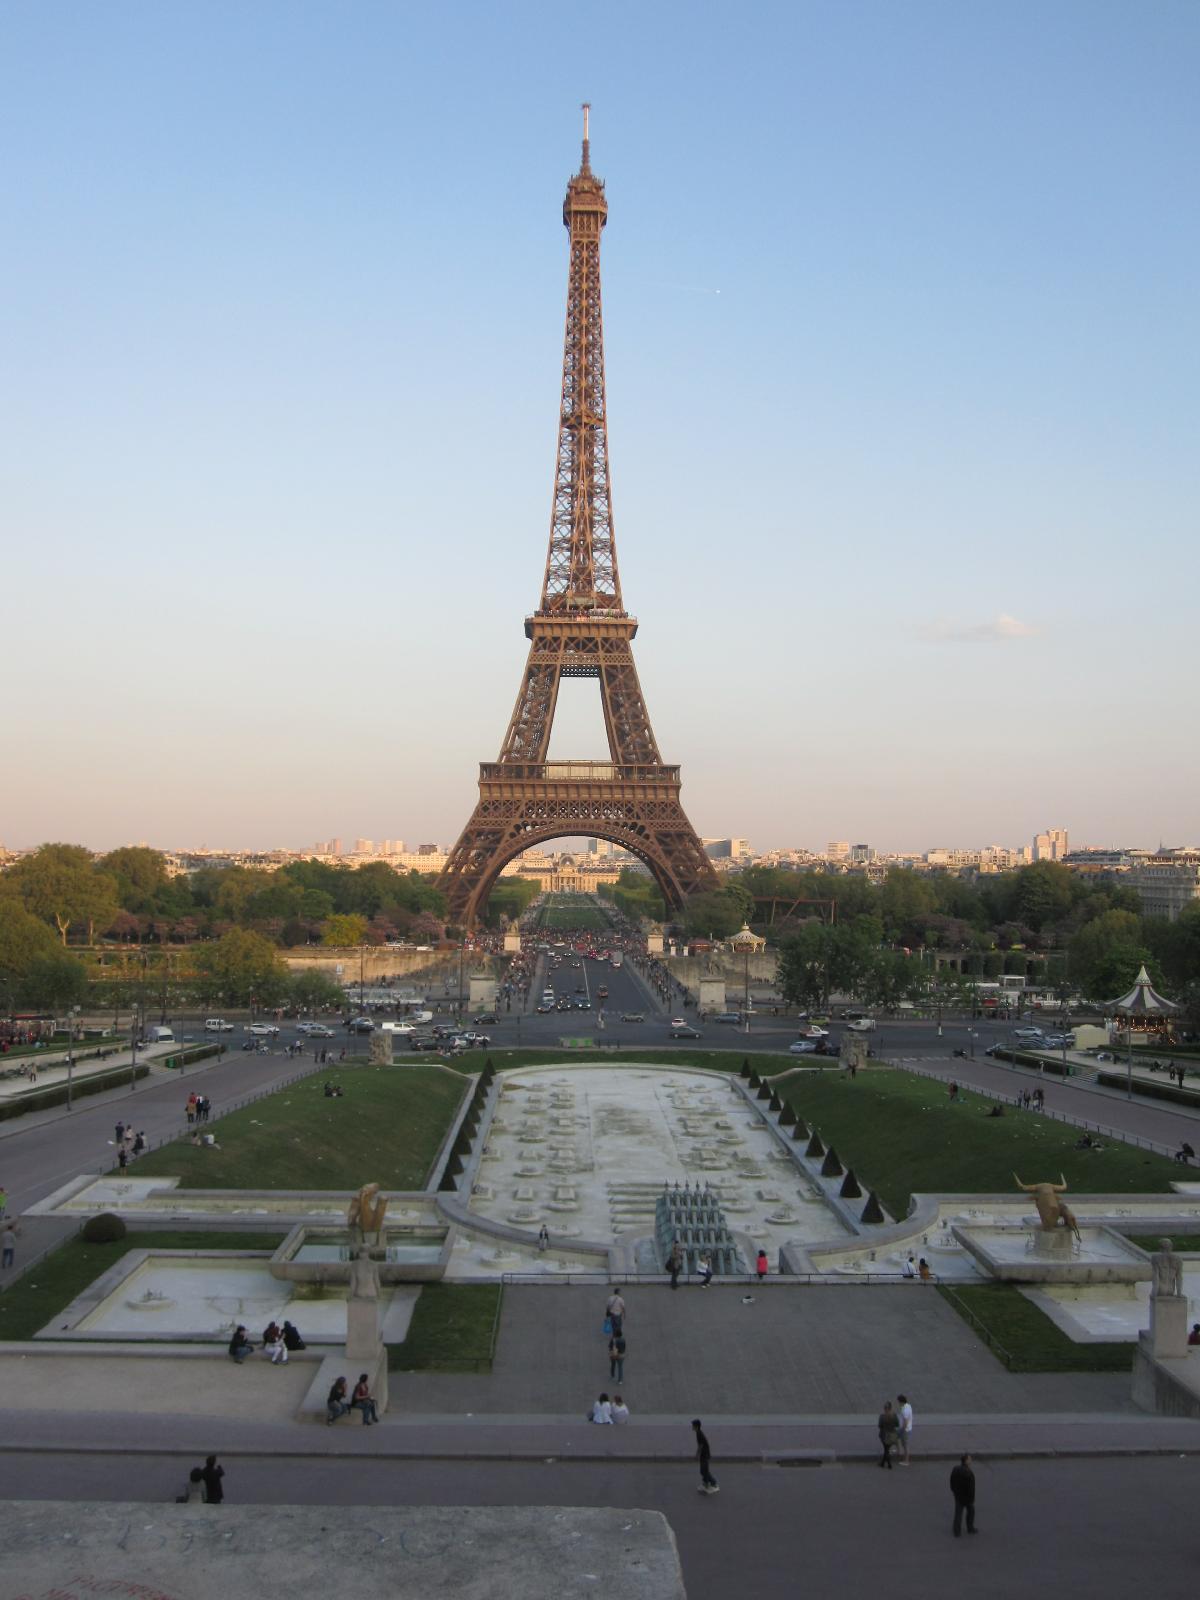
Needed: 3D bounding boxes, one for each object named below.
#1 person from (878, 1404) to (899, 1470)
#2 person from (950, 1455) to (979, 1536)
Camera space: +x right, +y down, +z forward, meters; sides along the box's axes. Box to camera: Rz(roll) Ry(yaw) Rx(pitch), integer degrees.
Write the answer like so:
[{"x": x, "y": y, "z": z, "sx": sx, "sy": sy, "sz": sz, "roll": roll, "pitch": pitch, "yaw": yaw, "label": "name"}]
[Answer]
[{"x": 4.904, "y": 10.667, "z": 26.208, "sx": 0.343, "sy": 1.009, "sz": 0.811, "roll": 0, "pitch": -4, "yaw": 10, "label": "person"}, {"x": 5.648, "y": 10.568, "z": 24.002, "sx": 0.361, "sy": 1.103, "sz": 1.255, "roll": -1, "pitch": -4, "yaw": 13, "label": "person"}]
